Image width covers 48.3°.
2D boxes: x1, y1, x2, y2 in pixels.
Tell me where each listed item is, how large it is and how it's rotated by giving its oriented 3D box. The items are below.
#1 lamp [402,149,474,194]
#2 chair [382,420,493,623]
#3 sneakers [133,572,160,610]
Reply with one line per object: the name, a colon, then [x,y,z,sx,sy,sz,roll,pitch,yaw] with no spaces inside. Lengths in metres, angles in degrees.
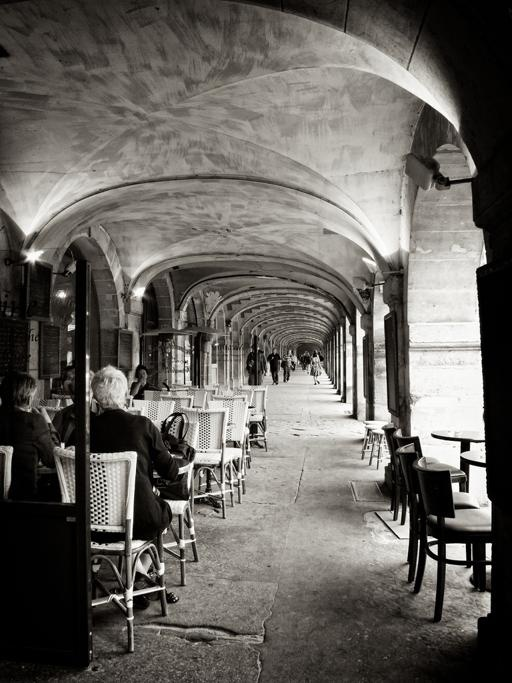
lamp: [1.232,-1.182,3.926,0.253,0.351,0.558,1,-2,-8]
chair: [1.303,1.319,4.103,0.474,0.981,1.293,-2,-1,0]
sneakers: [-0.705,1.544,3.573,0.101,0.147,0.338,1,-1,8]
